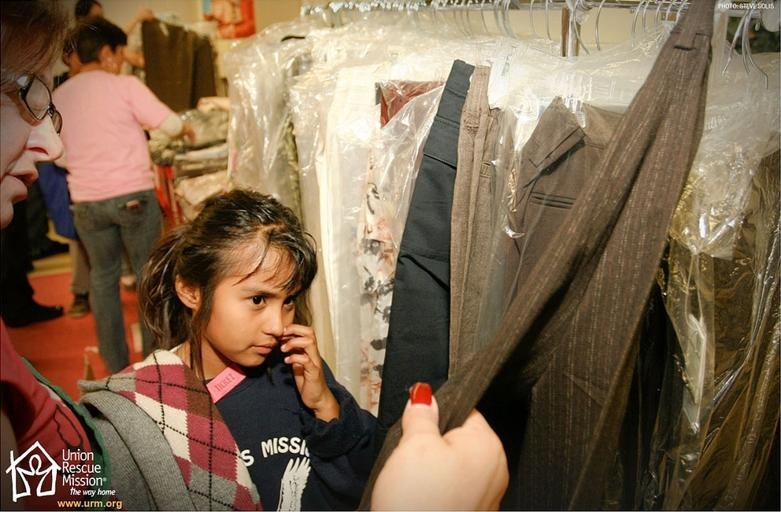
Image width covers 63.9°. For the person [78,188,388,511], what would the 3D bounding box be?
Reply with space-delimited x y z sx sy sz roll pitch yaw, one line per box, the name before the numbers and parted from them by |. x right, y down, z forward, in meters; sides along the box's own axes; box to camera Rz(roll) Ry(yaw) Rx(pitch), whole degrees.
person | -0.318 0.200 1.390 0.462 0.822 0.659 5 9 38

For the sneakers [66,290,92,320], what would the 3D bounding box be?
sneakers | -1.173 0.189 2.354 0.053 0.045 0.143 0 5 -15
